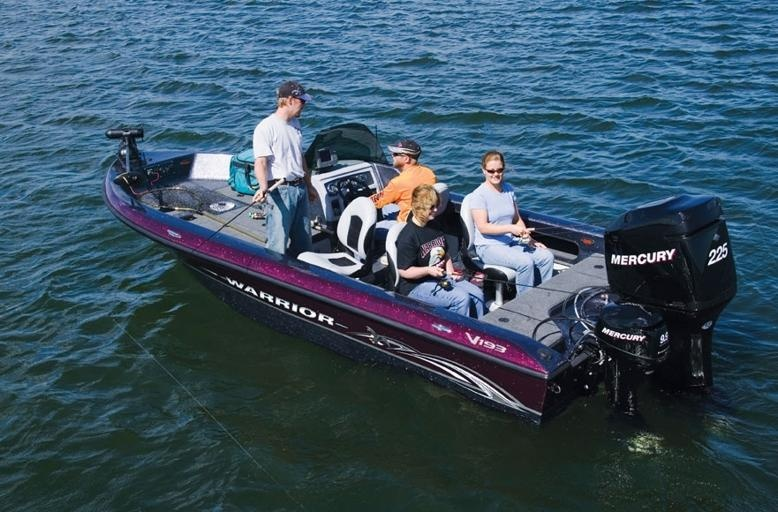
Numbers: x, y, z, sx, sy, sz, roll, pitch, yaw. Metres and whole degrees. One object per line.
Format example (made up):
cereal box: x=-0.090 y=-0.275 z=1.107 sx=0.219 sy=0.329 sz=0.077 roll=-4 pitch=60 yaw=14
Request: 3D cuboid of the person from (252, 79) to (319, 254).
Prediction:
person: x=-1.484 y=-1.093 z=10.867 sx=0.811 sy=2.082 sz=0.785 roll=7 pitch=10 yaw=39

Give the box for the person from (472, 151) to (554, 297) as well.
person: x=1.324 y=-0.323 z=10.516 sx=0.903 sy=1.801 sz=1.266 roll=2 pitch=0 yaw=-29

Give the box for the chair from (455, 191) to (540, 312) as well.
chair: x=1.473 y=-0.235 z=10.496 sx=0.784 sy=1.745 sz=0.997 roll=-17 pitch=20 yaw=-29

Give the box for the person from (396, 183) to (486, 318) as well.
person: x=0.585 y=-0.030 z=10.190 sx=1.273 sy=1.815 sz=1.013 roll=6 pitch=28 yaw=23

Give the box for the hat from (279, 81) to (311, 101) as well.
hat: x=-1.176 y=-2.009 z=10.645 sx=0.428 sy=0.195 sz=0.248 roll=-2 pitch=31 yaw=-5

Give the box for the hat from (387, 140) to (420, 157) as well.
hat: x=0.182 y=-1.360 z=10.885 sx=0.338 sy=0.144 sz=0.214 roll=11 pitch=12 yaw=7

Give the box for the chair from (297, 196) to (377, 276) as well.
chair: x=-0.630 y=-0.199 z=10.646 sx=0.866 sy=0.860 sz=0.701 roll=-20 pitch=32 yaw=-32
